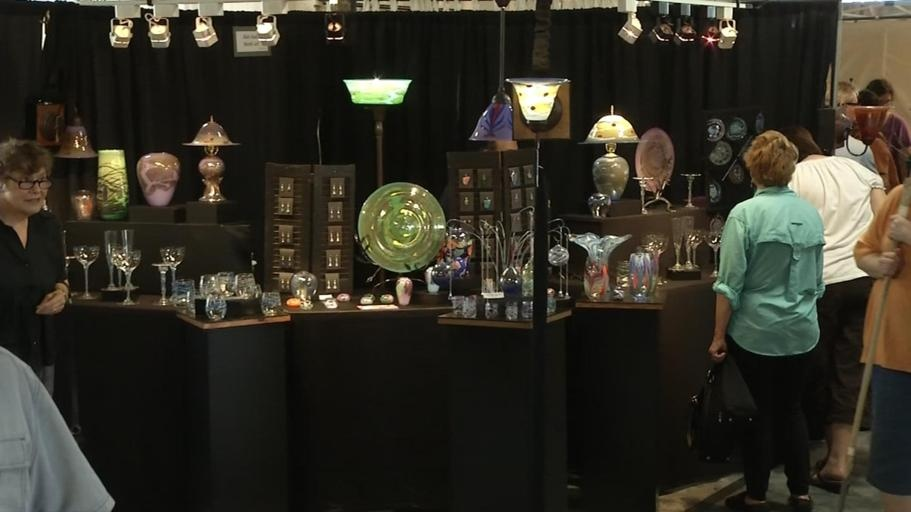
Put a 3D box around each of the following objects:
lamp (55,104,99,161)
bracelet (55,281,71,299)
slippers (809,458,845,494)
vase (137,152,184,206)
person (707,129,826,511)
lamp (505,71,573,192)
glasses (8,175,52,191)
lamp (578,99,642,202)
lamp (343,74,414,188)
[{"bbox_3d":[-2.948,-0.962,6.257,0.354,0.371,0.346,-4,9,-43],"label":"lamp"},{"bbox_3d":[-2.595,0.224,5.363,0.115,0.114,0.117,6,5,30],"label":"bracelet"},{"bbox_3d":[2.693,1.621,5.904,0.129,0.153,0.341,-4,11,-27],"label":"slippers"},{"bbox_3d":[-2.278,-0.587,6.197,0.248,0.413,0.216,1,3,33],"label":"vase"},{"bbox_3d":[2.114,0.481,5.411,0.778,2.627,0.416,-3,3,-28],"label":"person"},{"bbox_3d":[0.500,-0.804,4.759,0.336,0.490,0.292,-1,3,4],"label":"lamp"},{"bbox_3d":[-2.676,-0.459,5.102,0.230,0.086,0.080,-4,4,-44],"label":"glasses"},{"bbox_3d":[1.243,-0.824,6.396,0.392,0.780,0.861,-1,3,11],"label":"lamp"},{"bbox_3d":[-0.592,-0.968,6.312,0.491,0.856,0.865,-2,3,-6],"label":"lamp"}]
